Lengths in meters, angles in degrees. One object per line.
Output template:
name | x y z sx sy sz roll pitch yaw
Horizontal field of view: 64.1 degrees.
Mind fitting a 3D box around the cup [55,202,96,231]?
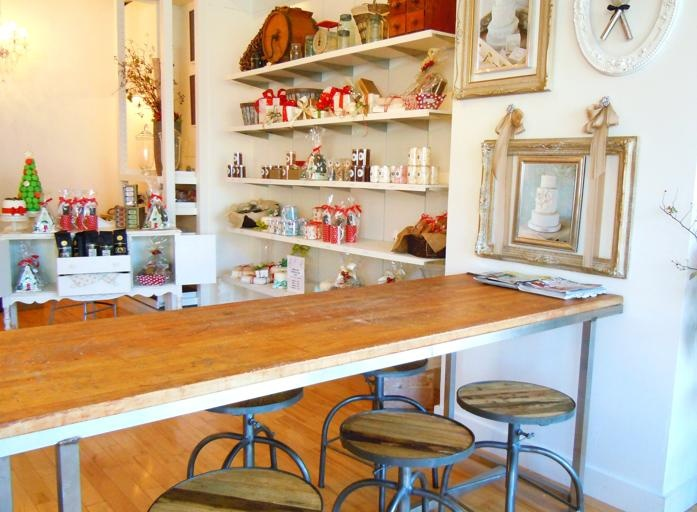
cup | -2.003 -0.300 4.108 0.267 0.209 0.251 1 12 0

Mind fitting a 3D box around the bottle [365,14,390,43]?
bottle | 0.204 -1.583 3.844 0.153 0.187 0.078 2 14 1

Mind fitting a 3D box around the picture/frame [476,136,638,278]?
picture/frame | 1.082 -0.258 2.778 0.090 0.597 0.823 -8 12 -41

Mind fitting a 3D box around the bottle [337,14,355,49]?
bottle | -0.020 -1.666 4.104 0.101 0.258 0.169 -3 14 -20
